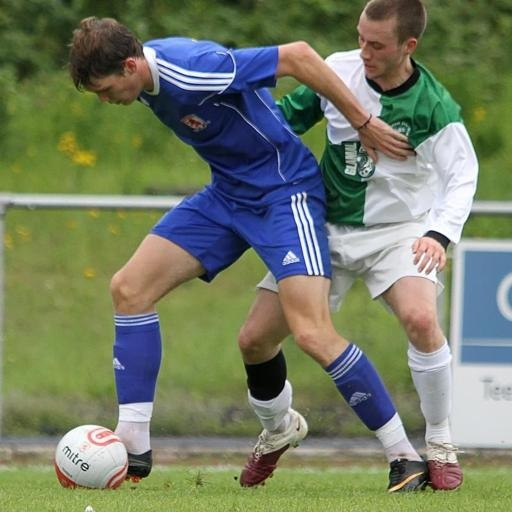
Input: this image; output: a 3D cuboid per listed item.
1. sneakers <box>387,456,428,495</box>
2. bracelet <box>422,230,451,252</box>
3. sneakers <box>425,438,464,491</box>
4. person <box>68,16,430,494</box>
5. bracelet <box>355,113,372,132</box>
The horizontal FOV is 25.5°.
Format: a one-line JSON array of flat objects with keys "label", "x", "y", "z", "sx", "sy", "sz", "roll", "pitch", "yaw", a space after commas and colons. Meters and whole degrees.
[{"label": "sneakers", "x": 0.696, "y": 1.006, "z": 5.207, "sx": 0.269, "sy": 0.087, "sz": 0.113, "roll": -2, "pitch": 53, "yaw": -53}, {"label": "bracelet", "x": 0.805, "y": -0.069, "z": 5.052, "sx": 0.096, "sy": 0.061, "sz": 0.092, "roll": 32, "pitch": -1, "yaw": -2}, {"label": "sneakers", "x": 0.892, "y": 0.983, "z": 5.338, "sx": 0.168, "sy": 0.109, "sz": 0.277, "roll": -12, "pitch": 26, "yaw": 2}, {"label": "person", "x": -0.037, "y": -0.030, "z": 5.234, "sx": 1.414, "sy": 2.160, "sz": 0.783, "roll": -3, "pitch": 22, "yaw": 5}, {"label": "bracelet", "x": 0.491, "y": -0.602, "z": 5.174, "sx": 0.024, "sy": 0.070, "sz": 0.076, "roll": 36, "pitch": 2, "yaw": -10}]
